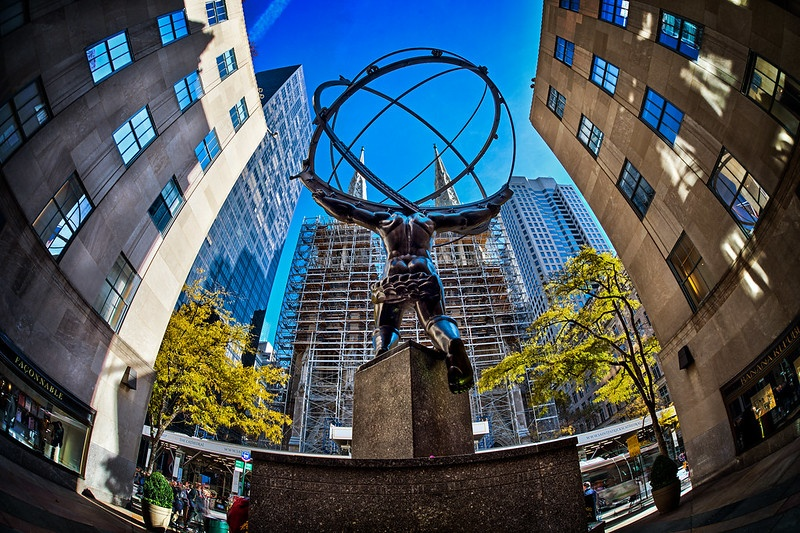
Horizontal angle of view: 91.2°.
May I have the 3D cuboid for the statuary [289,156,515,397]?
[{"bbox_3d":[-0.181,0.113,13.659,5.930,7.570,5.899,2,-8,1],"label":"statuary"}]
